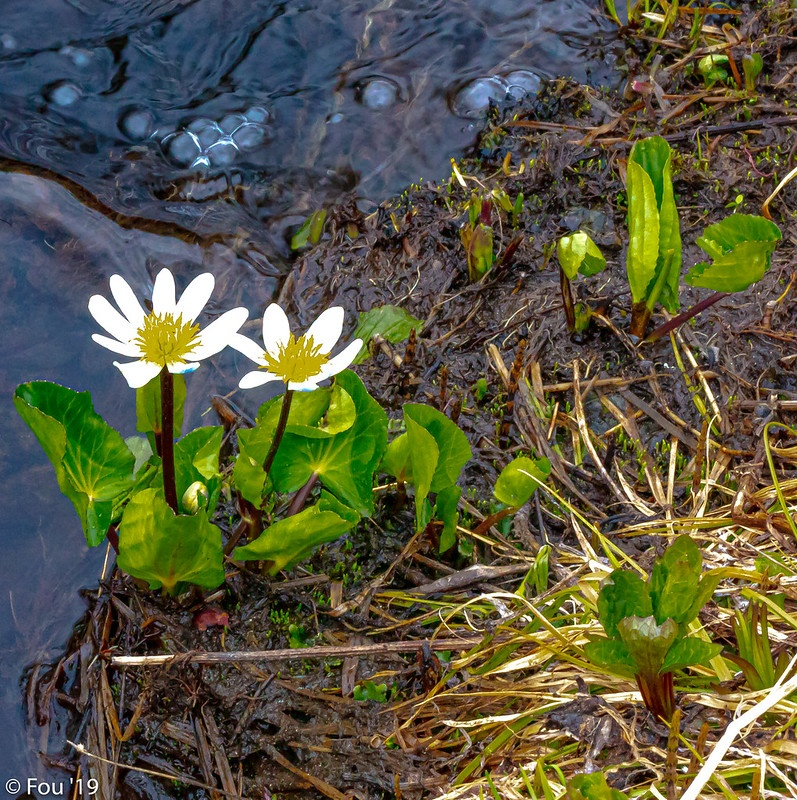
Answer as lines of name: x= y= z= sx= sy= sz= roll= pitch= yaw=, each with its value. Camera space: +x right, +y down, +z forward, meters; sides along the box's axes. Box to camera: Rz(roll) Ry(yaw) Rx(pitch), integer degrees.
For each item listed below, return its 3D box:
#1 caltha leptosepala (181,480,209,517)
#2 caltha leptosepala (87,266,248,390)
caltha leptosepala: x=-0.499 y=0.244 z=2.236 sx=0.068 sy=0.120 sz=0.073 roll=3 pitch=76 yaw=-6
caltha leptosepala: x=-0.550 y=-0.152 z=2.142 sx=0.342 sy=0.346 sz=0.113 roll=10 pitch=64 yaw=-36
